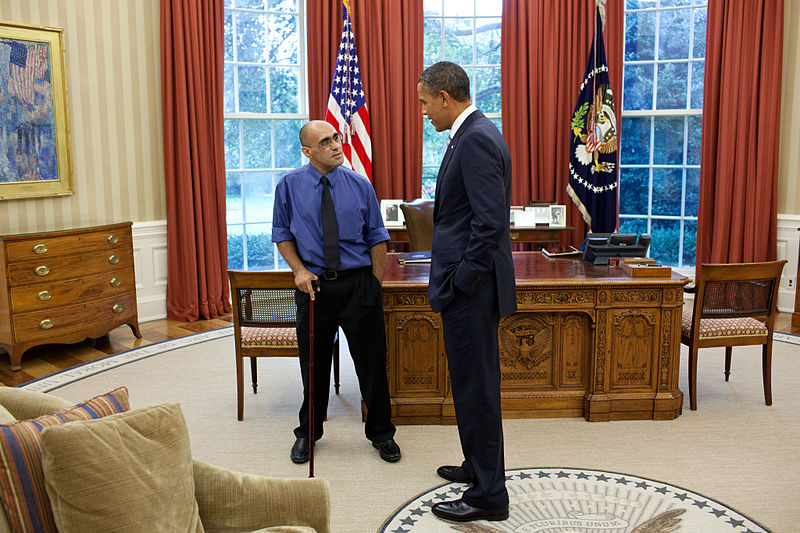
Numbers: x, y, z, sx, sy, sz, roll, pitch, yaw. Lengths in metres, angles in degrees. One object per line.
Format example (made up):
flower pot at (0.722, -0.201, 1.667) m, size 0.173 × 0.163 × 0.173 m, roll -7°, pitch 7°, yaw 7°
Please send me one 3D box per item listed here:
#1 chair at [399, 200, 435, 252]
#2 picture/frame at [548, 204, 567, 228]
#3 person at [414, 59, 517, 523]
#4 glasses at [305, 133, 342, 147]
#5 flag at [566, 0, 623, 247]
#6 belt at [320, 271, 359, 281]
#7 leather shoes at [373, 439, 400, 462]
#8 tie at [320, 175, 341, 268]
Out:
chair at (0.103, -0.400, 7.007) m, size 0.470 × 0.725 × 0.452 m, roll 0°, pitch 1°, yaw -3°
picture/frame at (1.682, -0.542, 7.298) m, size 0.237 × 0.319 × 0.021 m, roll 0°, pitch -2°, yaw -6°
person at (0.407, 0.160, 3.926) m, size 0.509 × 2.644 × 0.372 m, roll -1°, pitch 9°, yaw 9°
glasses at (-0.521, -0.831, 4.490) m, size 0.255 × 0.085 × 0.137 m, roll -5°, pitch 8°, yaw -13°
flag at (2.132, -1.608, 7.550) m, size 0.522 × 2.468 × 0.297 m, roll -1°, pitch 9°, yaw 13°
belt at (-0.406, 0.055, 4.451) m, size 0.223 × 0.070 × 0.029 m, roll -4°, pitch 8°, yaw -7°
leather shoes at (-0.076, 1.224, 4.567) m, size 0.086 × 0.088 × 0.208 m, roll -1°, pitch 1°, yaw -26°
tie at (-0.463, -0.283, 4.473) m, size 0.104 × 0.597 × 0.174 m, roll -4°, pitch 8°, yaw -7°
